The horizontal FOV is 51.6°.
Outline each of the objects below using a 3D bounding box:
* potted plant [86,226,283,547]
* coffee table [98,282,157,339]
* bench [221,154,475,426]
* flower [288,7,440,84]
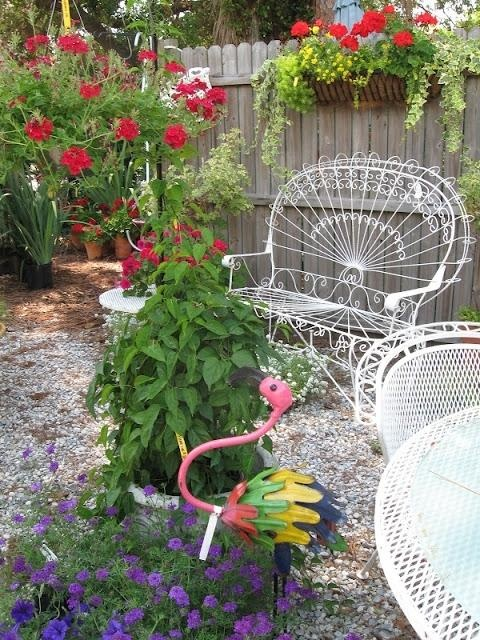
[{"bbox_3d":[-0.160,0.152,1.316,0.467,0.808,0.704,-1,11,-17],"label":"potted plant"},{"bbox_3d":[-0.802,-0.028,3.423,0.530,0.117,0.494,2,41,0],"label":"coffee table"},{"bbox_3d":[0.685,-0.241,2.867,0.749,1.423,1.632,-18,27,-40],"label":"bench"},{"bbox_3d":[0.807,-1.771,3.239,0.936,0.486,0.427,10,13,40],"label":"flower"}]
